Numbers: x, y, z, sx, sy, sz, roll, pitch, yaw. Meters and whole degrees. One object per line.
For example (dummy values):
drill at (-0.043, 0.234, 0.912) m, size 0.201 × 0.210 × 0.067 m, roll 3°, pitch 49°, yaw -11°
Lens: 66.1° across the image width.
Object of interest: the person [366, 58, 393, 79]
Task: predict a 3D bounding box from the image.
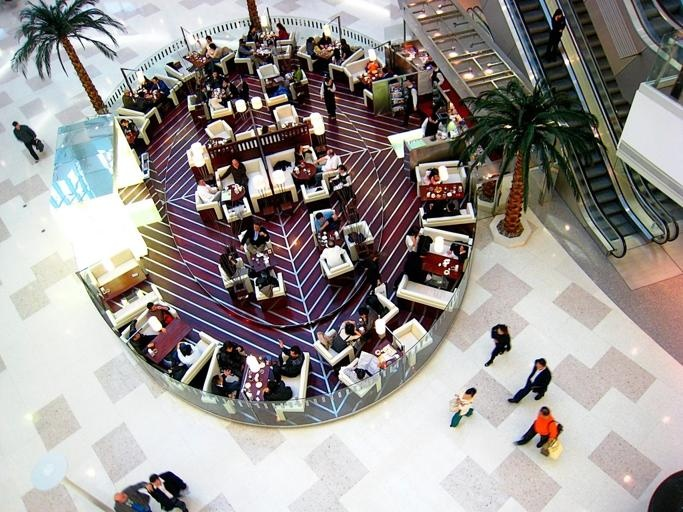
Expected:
person at (1.242, -6.352, 18.057) m, size 0.642 × 0.298 × 0.887 m, roll -24°, pitch 57°, yaw -12°

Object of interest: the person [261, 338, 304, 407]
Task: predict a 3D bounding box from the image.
person at (-1.372, 2.754, 12.270) m, size 0.703 × 0.813 × 1.368 m, roll 10°, pitch 51°, yaw 23°

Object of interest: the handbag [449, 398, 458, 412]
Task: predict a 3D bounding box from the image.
handbag at (2.497, 3.323, 11.680) m, size 0.267 × 0.085 × 0.308 m, roll 0°, pitch 93°, yaw -13°

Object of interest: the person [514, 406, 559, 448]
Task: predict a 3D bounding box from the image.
person at (4.270, 3.650, 11.315) m, size 0.528 × 1.637 × 0.669 m, roll 17°, pitch 56°, yaw 16°

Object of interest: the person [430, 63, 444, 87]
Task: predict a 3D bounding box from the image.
person at (3.170, -6.002, 17.383) m, size 0.267 × 0.869 × 0.430 m, roll -4°, pitch 74°, yaw 20°

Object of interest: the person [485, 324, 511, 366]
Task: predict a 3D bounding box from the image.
person at (3.781, 2.183, 12.631) m, size 0.430 × 0.820 × 0.384 m, roll -27°, pitch 65°, yaw -5°

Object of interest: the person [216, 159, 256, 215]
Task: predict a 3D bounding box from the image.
person at (-3.217, -2.110, 16.069) m, size 1.048 × 0.794 × 1.712 m, roll -13°, pitch 76°, yaw -15°

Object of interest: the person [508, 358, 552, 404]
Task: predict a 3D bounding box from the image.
person at (4.288, 2.823, 11.854) m, size 0.865 × 1.250 × 0.475 m, roll -7°, pitch 32°, yaw -9°

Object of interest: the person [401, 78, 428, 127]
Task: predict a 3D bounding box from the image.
person at (2.411, -5.040, 17.414) m, size 0.829 × 1.601 × 0.662 m, roll -4°, pitch 34°, yaw 5°

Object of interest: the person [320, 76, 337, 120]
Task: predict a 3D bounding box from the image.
person at (-0.415, -5.343, 17.641) m, size 0.502 × 1.677 × 0.495 m, roll 13°, pitch 58°, yaw 11°

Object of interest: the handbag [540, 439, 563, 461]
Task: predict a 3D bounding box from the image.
handbag at (4.548, 4.193, 11.374) m, size 0.391 × 0.382 × 0.317 m, roll -39°, pitch 69°, yaw -15°

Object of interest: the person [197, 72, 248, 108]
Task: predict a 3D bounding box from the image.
person at (-4.130, -6.054, 19.082) m, size 1.188 × 0.796 × 1.876 m, roll 8°, pitch 69°, yaw 6°

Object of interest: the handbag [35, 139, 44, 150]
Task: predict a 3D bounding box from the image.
handbag at (-10.562, -3.863, 18.431) m, size 0.294 × 0.450 × 0.098 m, roll -10°, pitch 4°, yaw -28°

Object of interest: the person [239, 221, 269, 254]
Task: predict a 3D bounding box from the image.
person at (-2.333, -0.441, 14.540) m, size 0.735 × 0.986 × 0.856 m, roll -3°, pitch 84°, yaw -6°

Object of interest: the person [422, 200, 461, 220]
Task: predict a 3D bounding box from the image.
person at (2.734, -1.288, 14.314) m, size 1.000 × 0.440 × 0.635 m, roll -1°, pitch 47°, yaw 14°

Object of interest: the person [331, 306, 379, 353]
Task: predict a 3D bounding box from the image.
person at (0.361, 1.849, 12.860) m, size 0.338 × 0.733 × 0.792 m, roll 31°, pitch 71°, yaw 22°

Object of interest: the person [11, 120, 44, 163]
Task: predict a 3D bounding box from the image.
person at (-10.829, -4.021, 18.239) m, size 0.695 × 1.488 × 0.573 m, roll -28°, pitch 50°, yaw -9°

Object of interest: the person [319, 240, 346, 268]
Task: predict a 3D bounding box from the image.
person at (-0.216, -0.031, 13.758) m, size 0.581 × 1.129 × 0.702 m, roll -12°, pitch 80°, yaw -2°

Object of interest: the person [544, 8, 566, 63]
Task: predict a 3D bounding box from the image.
person at (6.216, -6.363, 15.238) m, size 0.449 × 1.162 × 0.662 m, roll 21°, pitch 54°, yaw 32°

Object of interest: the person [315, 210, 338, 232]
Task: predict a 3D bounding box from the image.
person at (-0.421, -0.985, 14.558) m, size 0.441 × 0.830 × 0.695 m, roll -4°, pitch 87°, yaw 21°

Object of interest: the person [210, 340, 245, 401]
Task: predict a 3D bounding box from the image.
person at (-2.680, 2.778, 12.469) m, size 0.526 × 0.901 × 1.473 m, roll 12°, pitch 10°, yaw 3°
